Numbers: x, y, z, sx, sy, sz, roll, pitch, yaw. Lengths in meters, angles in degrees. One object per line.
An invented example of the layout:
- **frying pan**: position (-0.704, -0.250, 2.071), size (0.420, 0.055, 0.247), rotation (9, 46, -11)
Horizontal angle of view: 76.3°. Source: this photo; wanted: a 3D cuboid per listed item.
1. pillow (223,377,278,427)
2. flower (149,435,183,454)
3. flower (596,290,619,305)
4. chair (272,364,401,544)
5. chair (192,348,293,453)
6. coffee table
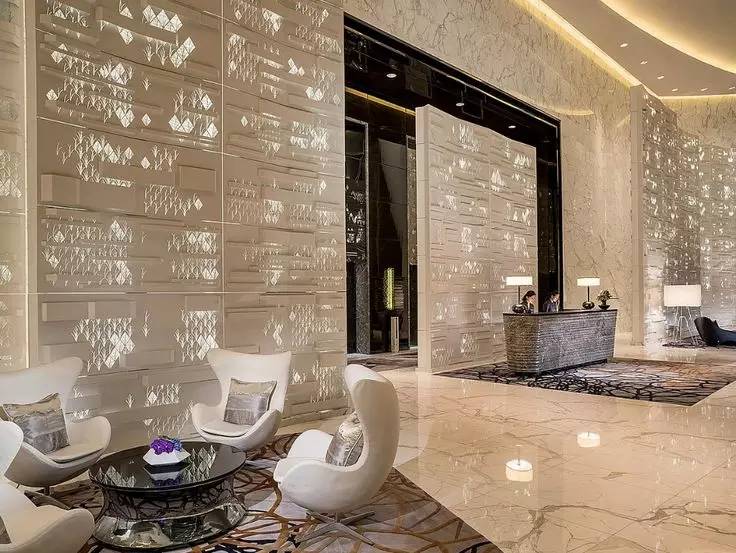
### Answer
- **pillow**: position (-1.202, 1.306, 4.845), size (0.409, 0.393, 0.166), rotation (0, -44, 22)
- **flower**: position (-1.668, 1.365, 3.840), size (0.157, 0.077, 0.164), rotation (8, 9, 35)
- **flower**: position (6.794, 0.585, 13.267), size (0.490, 0.412, 0.507), rotation (-1, -1, 38)
- **chair**: position (-0.276, 1.306, 3.589), size (0.710, 1.235, 0.988), rotation (0, -2, -44)
- **chair**: position (-1.296, 1.257, 5.027), size (0.986, 1.135, 0.921), rotation (-3, -7, 22)
- **coffee table**: position (-1.560, 1.713, 3.700), size (1.148, 0.503, 0.775), rotation (-1, -2, -17)
